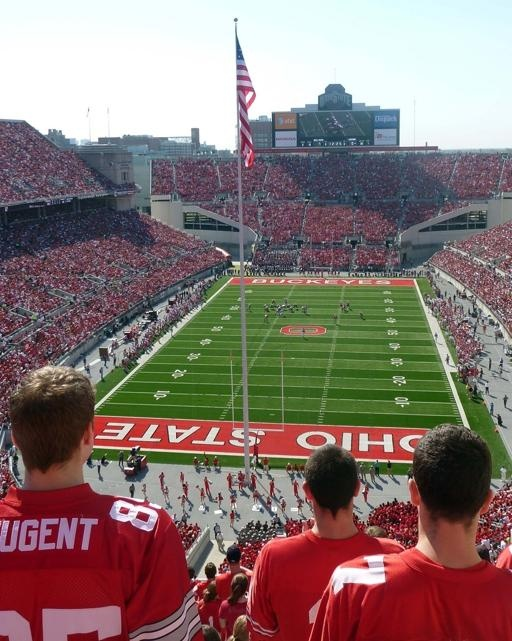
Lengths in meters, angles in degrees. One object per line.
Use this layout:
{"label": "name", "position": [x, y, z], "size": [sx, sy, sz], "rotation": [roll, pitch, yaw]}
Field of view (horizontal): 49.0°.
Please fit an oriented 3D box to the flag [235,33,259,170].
{"label": "flag", "position": [-0.293, -5.599, 14.494], "size": [0.591, 3.142, 0.851], "rotation": [2, 14, -4]}
